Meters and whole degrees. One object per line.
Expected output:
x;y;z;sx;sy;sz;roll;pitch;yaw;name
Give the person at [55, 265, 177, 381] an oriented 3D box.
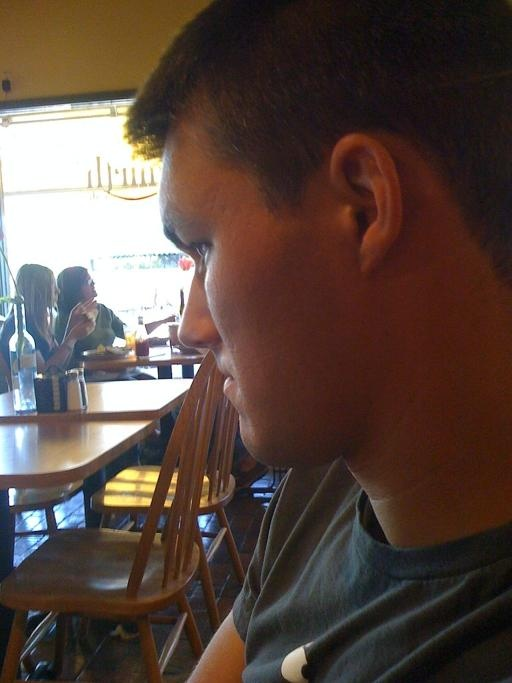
-0.950;-0.157;3.872;0.477;0.753;0.551;-17;-10;-35;person
